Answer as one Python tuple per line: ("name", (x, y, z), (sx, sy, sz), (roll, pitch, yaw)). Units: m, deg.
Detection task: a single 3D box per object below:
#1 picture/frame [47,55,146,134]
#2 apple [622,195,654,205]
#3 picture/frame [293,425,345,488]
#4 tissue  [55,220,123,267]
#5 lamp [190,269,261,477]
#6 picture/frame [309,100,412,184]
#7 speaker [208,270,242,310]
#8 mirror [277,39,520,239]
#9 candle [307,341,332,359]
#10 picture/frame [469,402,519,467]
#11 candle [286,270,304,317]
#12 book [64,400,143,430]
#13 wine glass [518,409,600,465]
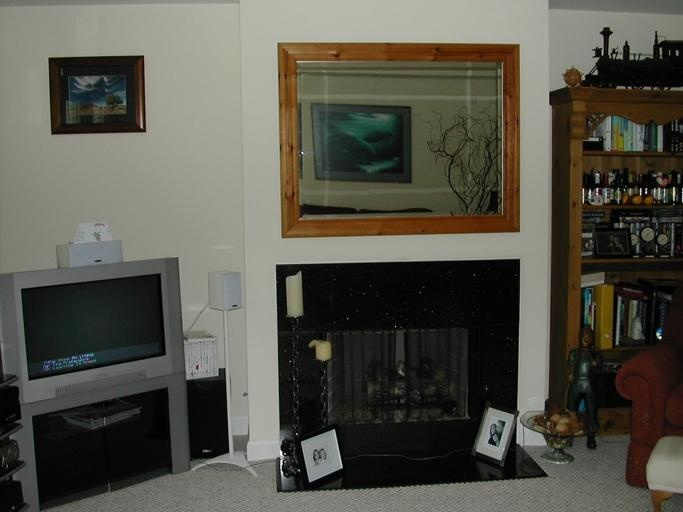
("picture/frame", (-1.878, -1.225, 4.687), (0.532, 0.484, 0.043), (0, 2, -4))
("apple", (2.299, -0.424, 4.816), (0.267, 0.080, 0.083), (-3, 6, -21))
("picture/frame", (-0.163, 1.371, 4.238), (0.313, 0.331, 0.032), (-9, -4, -37))
("tissue ", (-1.712, -0.046, 4.249), (0.349, 0.349, 0.323), (-1, 0, -29))
("lamp", (-0.887, 0.802, 4.534), (0.412, 1.392, 0.682), (-2, 5, -15))
("picture/frame", (0.094, -0.814, 4.384), (0.531, 0.434, 0.019), (0, 9, -3))
("speaker", (-0.841, 0.246, 4.444), (0.181, 0.269, 0.218), (-5, 6, -35))
("mirror", (0.327, -0.872, 4.401), (1.265, 1.090, 0.061), (-1, 1, -4))
("candle", (-0.156, 0.674, 4.417), (0.171, 0.179, 0.170), (-2, 5, -7))
("picture/frame", (1.077, 1.273, 4.437), (0.290, 0.436, 0.044), (13, -13, 25))
("candle", (-0.314, 0.261, 4.344), (0.102, 0.286, 0.183), (2, 6, 31))
("book", (-1.626, 1.056, 4.199), (0.230, 0.093, 0.240), (3, 6, 21))
("wine glass", (1.514, 1.229, 4.391), (0.374, 0.191, 0.394), (0, 6, 20))
